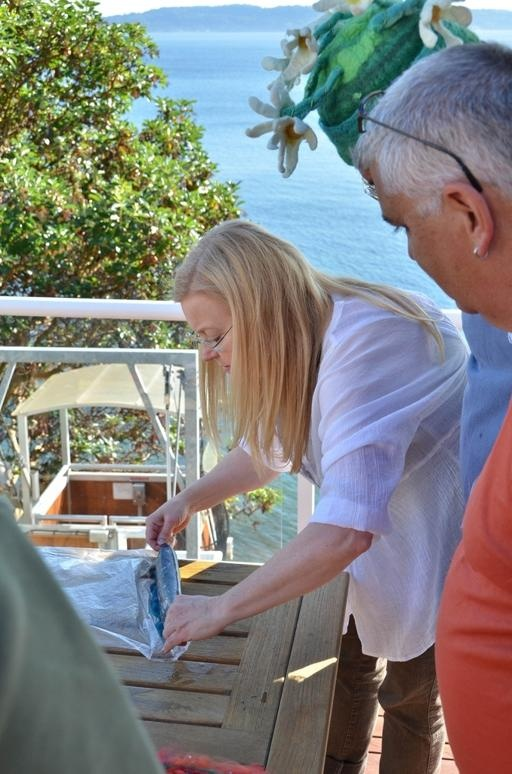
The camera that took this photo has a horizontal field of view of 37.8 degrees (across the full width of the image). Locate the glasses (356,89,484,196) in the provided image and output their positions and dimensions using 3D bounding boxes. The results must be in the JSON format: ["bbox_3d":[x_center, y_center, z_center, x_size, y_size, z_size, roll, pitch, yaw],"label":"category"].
[{"bbox_3d":[0.160,-0.234,0.714,0.147,0.036,0.126,18,32,-11],"label":"glasses"}]
